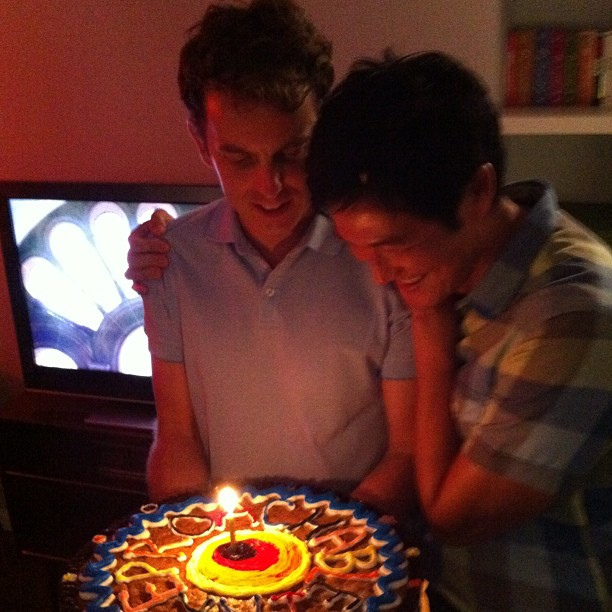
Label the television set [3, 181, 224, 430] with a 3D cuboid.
[{"bbox_3d":[-0.733,-0.040,2.505,1.016,1.045,0.075,3,14,20],"label":"television set"}]

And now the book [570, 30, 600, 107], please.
[{"bbox_3d":[0.950,-0.821,2.302,0.055,0.228,0.021,-4,17,-1],"label":"book"}]

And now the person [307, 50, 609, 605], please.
[{"bbox_3d":[0.324,0.048,1.365,0.579,1.036,0.405,4,15,15],"label":"person"}]
